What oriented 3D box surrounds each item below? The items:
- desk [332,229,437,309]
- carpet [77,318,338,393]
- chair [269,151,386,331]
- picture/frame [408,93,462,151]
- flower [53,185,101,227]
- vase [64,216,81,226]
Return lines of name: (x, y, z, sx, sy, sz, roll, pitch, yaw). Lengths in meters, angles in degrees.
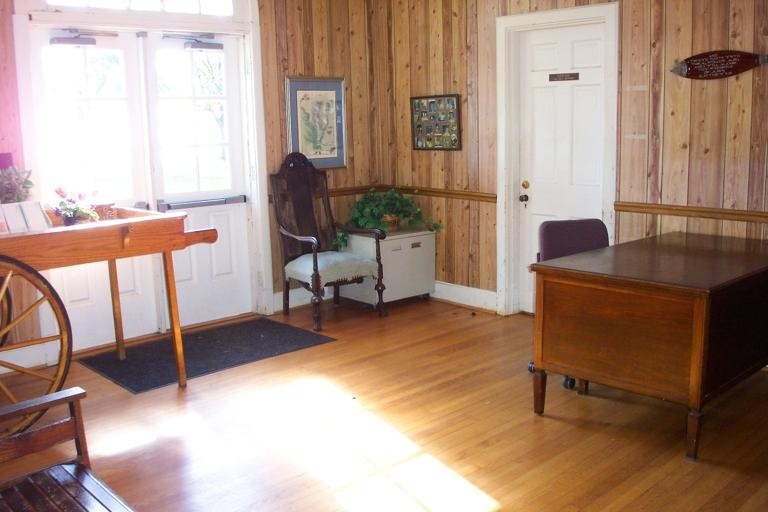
desk: (0.063, -0.011, 6.242, 1.297, 0.851, 0.719, -7, 9, -44)
carpet: (-1.536, 0.805, 5.043, 1.834, 0.080, 0.990, -13, 19, -33)
chair: (-0.564, -0.183, 5.731, 1.135, 1.464, 1.023, 7, 14, 24)
picture/frame: (0.533, -1.374, 6.010, 0.623, 0.554, 0.027, -10, 10, -31)
flower: (-2.270, -0.406, 4.371, 0.222, 0.167, 0.246, -5, 10, -10)
vase: (-2.272, -0.252, 4.222, 0.072, 0.044, 0.070, 0, -2, 12)
